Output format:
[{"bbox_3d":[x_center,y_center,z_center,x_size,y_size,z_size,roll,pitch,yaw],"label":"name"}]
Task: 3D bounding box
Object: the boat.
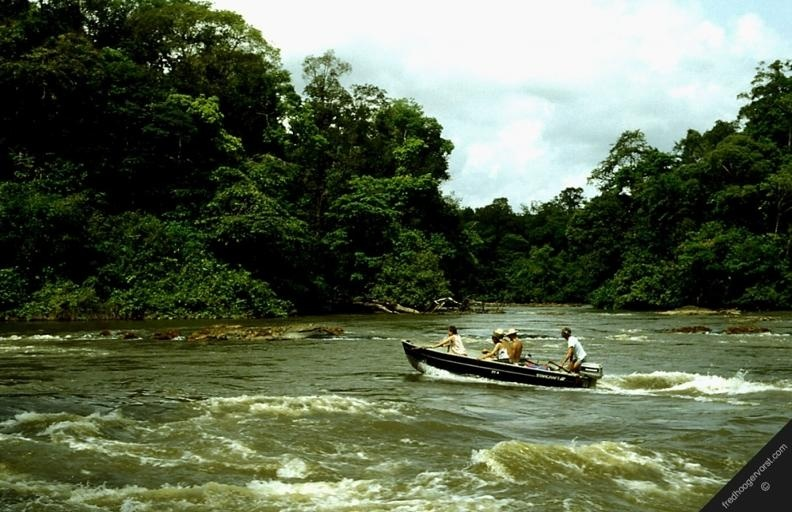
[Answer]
[{"bbox_3d":[4.814,5.126,41.841,10.068,2.715,1.800,7,39,13],"label":"boat"}]
